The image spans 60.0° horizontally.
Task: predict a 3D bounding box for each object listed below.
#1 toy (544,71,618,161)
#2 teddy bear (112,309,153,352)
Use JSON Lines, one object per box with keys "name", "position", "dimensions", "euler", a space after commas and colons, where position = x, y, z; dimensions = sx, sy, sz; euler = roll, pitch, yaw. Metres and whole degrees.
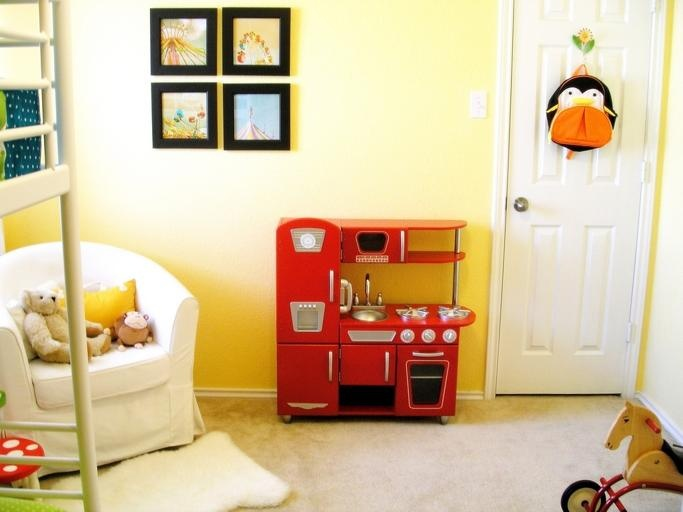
{"name": "toy", "position": [1.423, -0.837, 3.575], "dimensions": [0.350, 0.485, 0.192], "euler": [-2, 5, 8]}
{"name": "teddy bear", "position": [-1.147, 0.402, 3.260], "dimensions": [0.208, 0.160, 0.204], "euler": [-4, 14, -22]}
